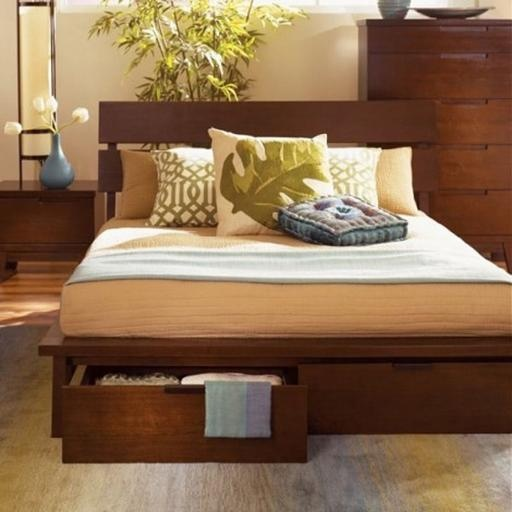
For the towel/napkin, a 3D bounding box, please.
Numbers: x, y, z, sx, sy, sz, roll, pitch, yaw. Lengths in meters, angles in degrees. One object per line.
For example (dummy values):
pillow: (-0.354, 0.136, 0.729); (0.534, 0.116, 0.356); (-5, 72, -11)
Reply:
towel/napkin: (-0.050, 0.375, 1.397); (0.160, 0.136, 0.040); (-2, 3, -1)
